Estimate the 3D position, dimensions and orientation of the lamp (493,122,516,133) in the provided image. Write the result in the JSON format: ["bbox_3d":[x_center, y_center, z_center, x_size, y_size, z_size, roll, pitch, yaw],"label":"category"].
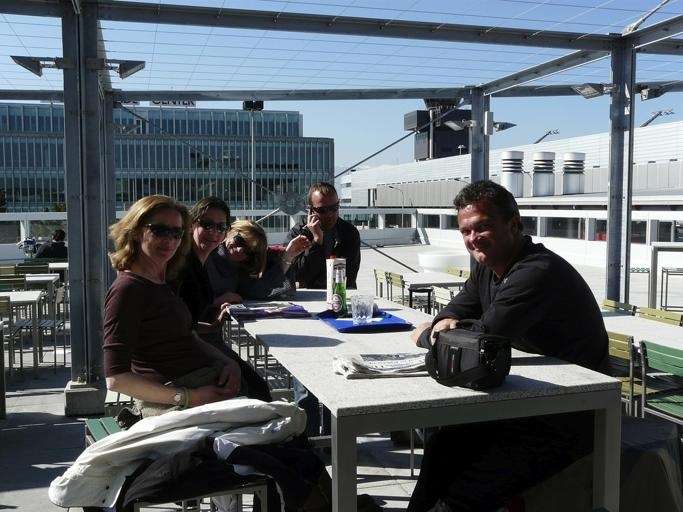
[{"bbox_3d":[2.489,-1.976,9.465,0.317,0.140,0.606,0,8,16],"label":"lamp"}]

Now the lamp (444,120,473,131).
[{"bbox_3d":[1.826,-2.032,9.663,0.323,0.117,0.313,-5,5,-4],"label":"lamp"}]

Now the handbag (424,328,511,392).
[{"bbox_3d":[0.529,0.414,2.612,0.272,0.194,0.281,-4,8,-32],"label":"handbag"}]

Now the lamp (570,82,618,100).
[{"bbox_3d":[3.039,-2.010,7.519,0.266,0.181,0.561,-2,8,0],"label":"lamp"}]

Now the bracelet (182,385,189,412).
[{"bbox_3d":[-0.795,0.733,3.185,0.034,0.095,0.058,-1,8,13],"label":"bracelet"}]

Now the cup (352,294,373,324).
[{"bbox_3d":[0.130,0.317,3.662,0.156,0.163,0.151,0,2,0],"label":"cup"}]

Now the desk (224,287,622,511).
[{"bbox_3d":[0.264,0.809,2.967,1.729,0.699,1.132,4,10,41],"label":"desk"}]
